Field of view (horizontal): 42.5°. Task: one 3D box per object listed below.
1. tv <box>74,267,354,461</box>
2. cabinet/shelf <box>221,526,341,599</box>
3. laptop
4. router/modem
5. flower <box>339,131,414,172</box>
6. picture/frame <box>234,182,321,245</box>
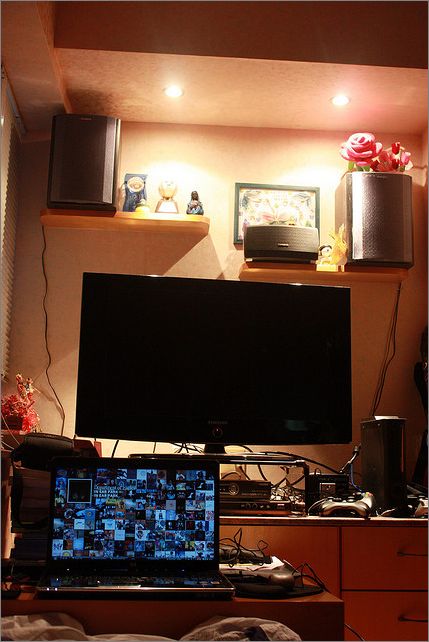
[{"bbox_3d":[-0.006,0.163,1.906,0.774,0.469,0.081,2,-16,-7],"label":"tv"},{"bbox_3d":[0.160,0.605,1.382,0.289,0.261,0.091,1,-12,-5],"label":"cabinet/shelf"},{"bbox_3d":[-0.163,0.358,1.170,0.369,0.242,0.257,2,-12,-3],"label":"laptop"},{"bbox_3d":[0.549,0.452,1.769,0.124,0.288,0.195,0,-6,5],"label":"router/modem"},{"bbox_3d":[0.700,-0.714,2.383,0.257,0.188,0.158,-12,17,10],"label":"flower"},{"bbox_3d":[0.264,-0.457,2.418,0.334,0.269,0.024,2,-17,-6],"label":"picture/frame"}]
